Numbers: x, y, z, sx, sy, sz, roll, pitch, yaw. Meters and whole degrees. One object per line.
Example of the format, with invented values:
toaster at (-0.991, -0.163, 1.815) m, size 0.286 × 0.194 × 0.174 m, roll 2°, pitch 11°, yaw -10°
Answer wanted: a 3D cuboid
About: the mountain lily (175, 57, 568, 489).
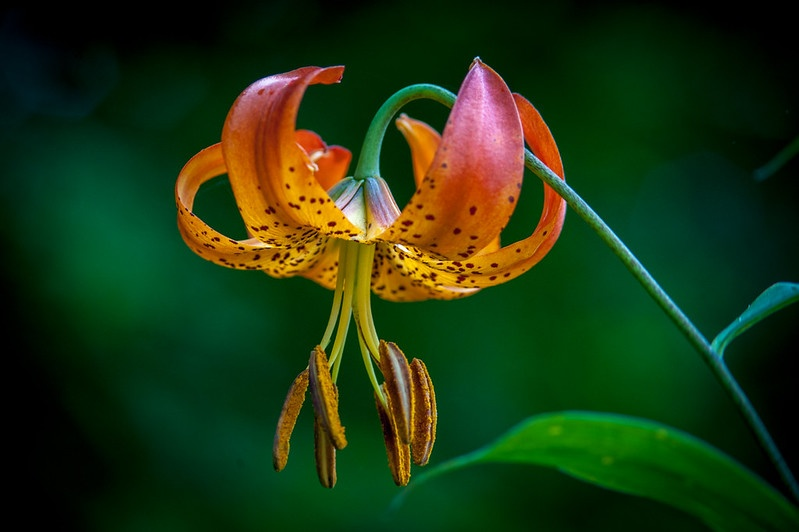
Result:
mountain lily at (-0.075, 0.099, 2.068) m, size 0.836 × 1.297 × 0.798 m, roll -23°, pitch 48°, yaw -24°
